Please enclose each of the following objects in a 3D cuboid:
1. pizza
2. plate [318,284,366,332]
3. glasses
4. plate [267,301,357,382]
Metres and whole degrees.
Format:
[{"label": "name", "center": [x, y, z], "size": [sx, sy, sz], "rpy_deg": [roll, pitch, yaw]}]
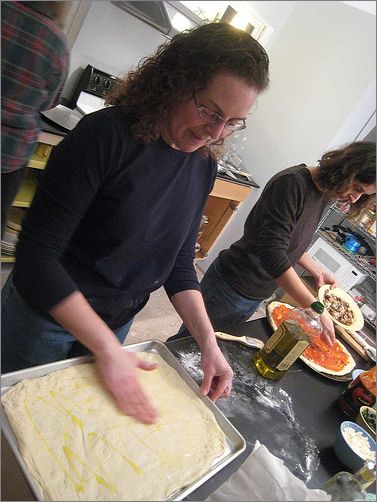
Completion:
[{"label": "pizza", "center": [0.435, 0.363, 1.293], "size": [0.301, 0.037, 0.274], "rpy_deg": [32, 17, -2]}, {"label": "plate", "center": [0.660, 0.290, 1.613], "size": [0.254, 0.060, 0.250], "rpy_deg": [40, 31, -5]}, {"label": "glasses", "center": [0.064, -0.285, 0.742], "size": [0.138, 0.070, 0.054], "rpy_deg": [16, 28, -54]}, {"label": "plate", "center": [0.495, 0.340, 1.262], "size": [0.310, 0.037, 0.281], "rpy_deg": [26, 20, -18]}]
